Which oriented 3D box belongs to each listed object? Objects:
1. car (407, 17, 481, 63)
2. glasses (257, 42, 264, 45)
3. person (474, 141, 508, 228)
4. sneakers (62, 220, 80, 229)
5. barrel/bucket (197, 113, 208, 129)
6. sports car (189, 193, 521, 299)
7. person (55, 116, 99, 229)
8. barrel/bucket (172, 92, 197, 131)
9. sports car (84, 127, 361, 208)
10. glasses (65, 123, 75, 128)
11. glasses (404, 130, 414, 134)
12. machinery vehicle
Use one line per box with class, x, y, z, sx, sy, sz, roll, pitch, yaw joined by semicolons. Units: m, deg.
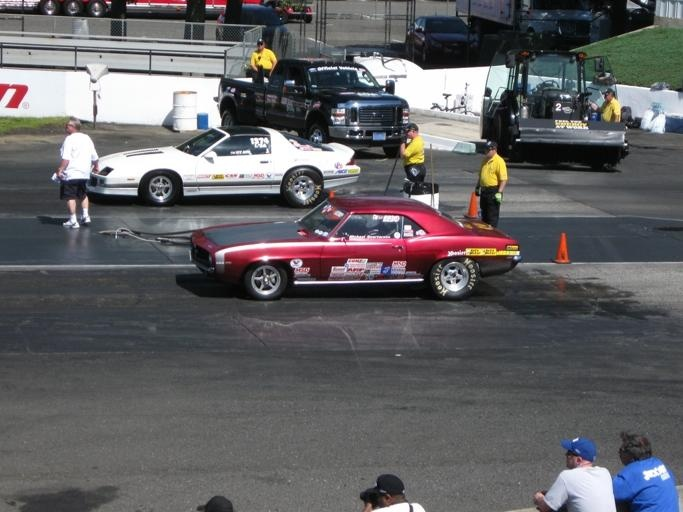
car;4.169;-9.218;44.582;2.309;1.738;4.842;-3;17;-7
glasses;-2.403;-6.226;31.084;0.127;0.083;0.200;2;7;-11
person;2.997;-1.268;20.210;0.600;1.499;0.694;-2;23;-15
sneakers;-5.074;-0.596;19.944;0.330;0.144;0.117;5;16;6
barrel/bucket;-4.129;-4.015;31.450;0.428;0.452;0.416;1;8;0
sports car;0.339;-0.134;17.671;5.058;1.383;2.250;-1;7;-4
person;-4.932;-1.536;19.757;0.698;2.084;0.865;0;12;-12
barrel/bucket;-4.574;-4.233;31.051;0.677;1.159;0.623;2;11;0
sports car;-2.542;-1.940;22.933;5.685;1.498;2.596;-3;9;-19
glasses;-4.958;-2.394;19.351;0.193;0.085;0.091;10;13;33
glasses;1.371;-2.514;21.390;0.173;0.064;0.200;4;4;-14
machinery vehicle;5.683;-4.040;27.909;3.721;2.788;5.425;2;10;2
